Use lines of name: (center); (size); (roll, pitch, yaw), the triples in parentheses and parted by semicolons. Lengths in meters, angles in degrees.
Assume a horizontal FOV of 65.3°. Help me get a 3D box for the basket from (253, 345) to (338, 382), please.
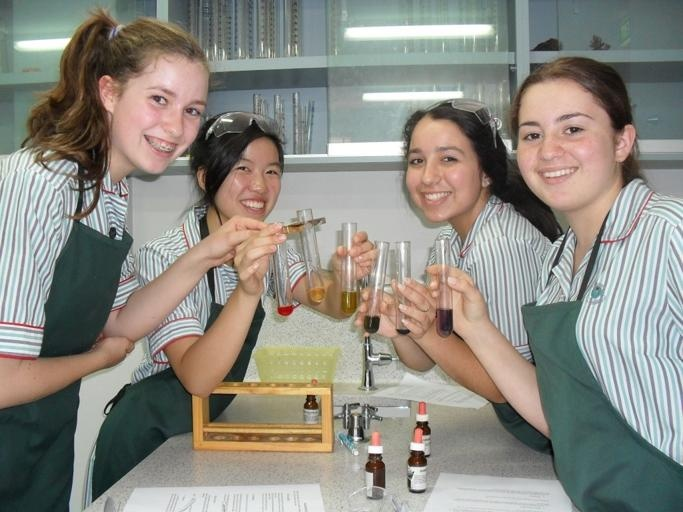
basket: (-0.216, 0.539, 2.661); (0.307, 0.113, 0.212); (1, 4, -5)

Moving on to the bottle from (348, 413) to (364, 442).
bottle: (0.047, 0.546, 1.691); (0.074, 0.084, 0.074); (0, 1, 0)

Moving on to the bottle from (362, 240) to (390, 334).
bottle: (0.109, 0.111, 1.730); (0.089, 0.349, 0.171); (-3, 14, -2)

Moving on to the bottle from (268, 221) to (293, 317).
bottle: (-0.199, 0.040, 1.750); (0.055, 0.299, 0.170); (-4, 14, -6)

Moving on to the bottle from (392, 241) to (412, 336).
bottle: (0.191, 0.109, 1.683); (0.047, 0.327, 0.084); (-2, 14, 4)
